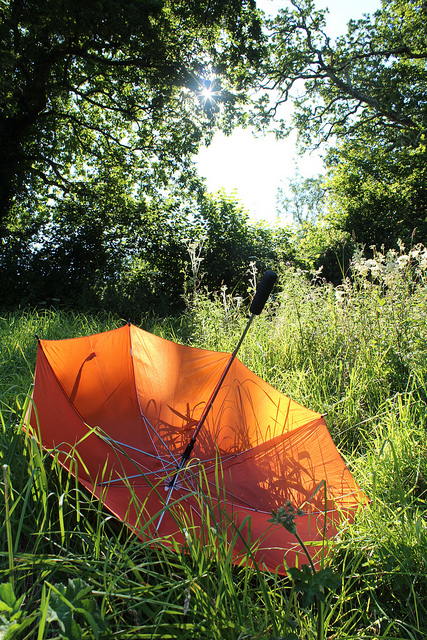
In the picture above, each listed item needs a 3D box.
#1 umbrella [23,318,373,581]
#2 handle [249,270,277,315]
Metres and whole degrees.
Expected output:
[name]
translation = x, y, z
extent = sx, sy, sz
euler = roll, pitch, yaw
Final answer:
[umbrella]
translation = -0.025, 0.461, 2.259
extent = 1.392, 0.449, 1.317
euler = 7, 14, -47
[handle]
translation = 0.195, -0.114, 2.173
extent = 0.058, 0.212, 0.061
euler = 36, 37, 20
